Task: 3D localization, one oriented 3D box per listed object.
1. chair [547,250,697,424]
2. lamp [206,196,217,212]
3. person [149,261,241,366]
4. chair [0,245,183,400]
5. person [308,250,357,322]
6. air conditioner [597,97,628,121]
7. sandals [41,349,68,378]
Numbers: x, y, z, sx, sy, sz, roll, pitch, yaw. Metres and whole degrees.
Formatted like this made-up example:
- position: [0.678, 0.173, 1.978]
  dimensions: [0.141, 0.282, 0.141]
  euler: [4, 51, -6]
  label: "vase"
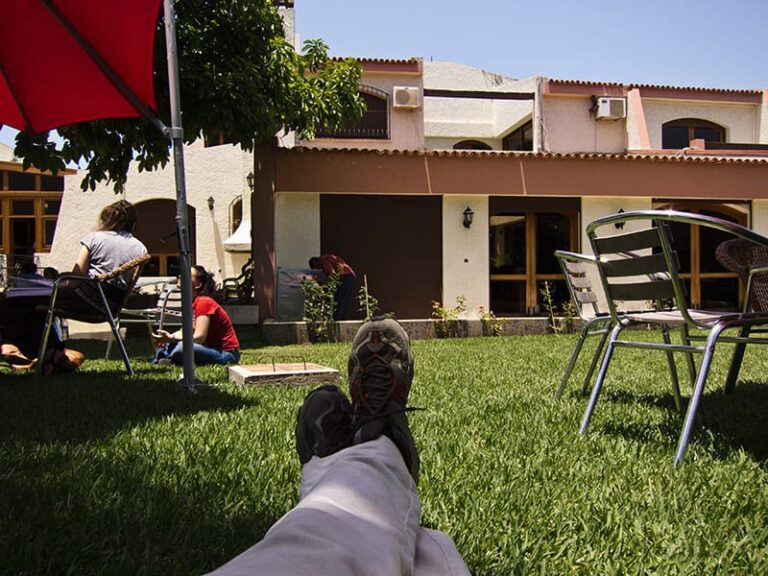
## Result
- position: [1.740, 0.270, 4.727]
  dimensions: [0.836, 1.189, 0.772]
  euler: [-6, -7, 24]
  label: "chair"
- position: [-5.011, -2.429, 19.900]
  dimensions: [0.219, 0.414, 0.216]
  euler: [2, 0, -7]
  label: "lamp"
- position: [-1.711, 0.290, 6.359]
  dimensions: [0.811, 1.040, 0.790]
  euler: [2, -7, -13]
  label: "person"
- position: [-2.558, 0.222, 5.950]
  dimensions: [1.237, 1.883, 1.081]
  euler: [8, -6, -23]
  label: "chair"
- position: [-0.872, -0.011, 11.405]
  dimensions: [0.814, 1.038, 1.121]
  euler: [2, 0, -3]
  label: "person"
- position: [6.510, -5.175, 19.890]
  dimensions: [0.883, 0.783, 0.515]
  euler: [0, -1, -8]
  label: "air conditioner"
- position: [-2.635, 0.605, 5.507]
  dimensions: [0.088, 0.297, 0.107]
  euler: [27, 27, 22]
  label: "sandals"
